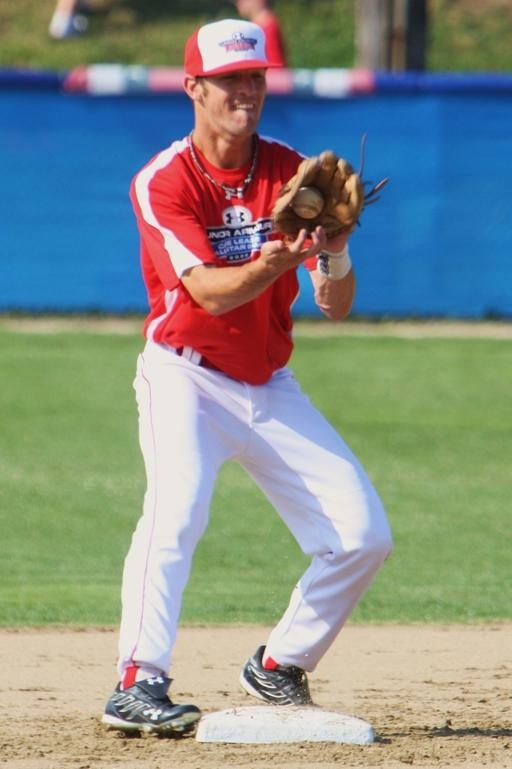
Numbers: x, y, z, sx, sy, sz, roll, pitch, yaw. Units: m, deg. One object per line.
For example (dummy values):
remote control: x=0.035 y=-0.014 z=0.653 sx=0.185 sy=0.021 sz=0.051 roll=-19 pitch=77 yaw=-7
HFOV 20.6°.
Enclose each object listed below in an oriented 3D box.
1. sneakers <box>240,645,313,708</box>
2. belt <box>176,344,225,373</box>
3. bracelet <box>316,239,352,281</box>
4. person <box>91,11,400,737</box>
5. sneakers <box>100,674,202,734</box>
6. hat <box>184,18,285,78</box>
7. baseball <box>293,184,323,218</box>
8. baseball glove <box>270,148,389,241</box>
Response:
sneakers: x=0.053 y=0.881 z=4.317 sx=0.281 sy=0.112 sz=0.100 roll=14 pitch=21 yaw=30
belt: x=-0.168 y=-0.075 z=4.104 sx=0.082 sy=0.025 sz=0.076 roll=26 pitch=-4 yaw=12
bracelet: x=0.252 y=-0.378 z=4.157 sx=0.107 sy=0.101 sz=0.094 roll=-7 pitch=45 yaw=-12
person: x=-0.041 y=-0.030 z=4.049 sx=0.832 sy=1.994 sz=0.623 roll=-2 pitch=13 yaw=-6
sneakers: x=-0.298 y=0.911 z=4.039 sx=0.337 sy=0.168 sz=0.119 roll=-1 pitch=-4 yaw=16
hat: x=-0.092 y=-0.981 z=4.090 sx=0.181 sy=0.117 sz=0.226 roll=-6 pitch=7 yaw=-21
baseball: x=0.134 y=-0.509 z=3.917 sx=0.087 sy=0.090 sz=0.082 roll=-3 pitch=-2 yaw=-4
baseball glove: x=0.199 y=-0.521 z=3.913 sx=0.310 sy=0.091 sz=0.267 roll=-20 pitch=-37 yaw=30
